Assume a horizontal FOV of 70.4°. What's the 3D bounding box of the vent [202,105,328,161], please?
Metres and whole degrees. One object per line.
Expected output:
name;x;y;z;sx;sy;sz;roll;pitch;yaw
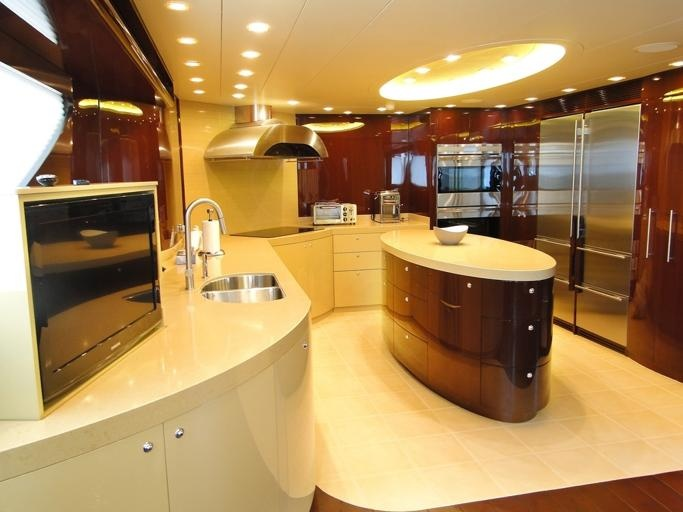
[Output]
vent;-0.775;-1.280;5.115;0.899;0.557;1.109;7;13;28

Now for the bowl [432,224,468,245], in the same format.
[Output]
bowl;0.949;-0.183;4.229;0.257;0.157;0.282;-1;13;0

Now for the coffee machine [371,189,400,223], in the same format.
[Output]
coffee machine;0.573;-0.608;6.103;0.358;0.394;0.369;3;8;27

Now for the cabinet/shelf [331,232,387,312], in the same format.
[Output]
cabinet/shelf;0.232;0.297;5.973;0.665;0.996;0.571;1;-20;-5

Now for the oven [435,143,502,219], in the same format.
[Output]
oven;1.562;-0.882;6.095;0.818;0.961;0.670;-1;-1;10
